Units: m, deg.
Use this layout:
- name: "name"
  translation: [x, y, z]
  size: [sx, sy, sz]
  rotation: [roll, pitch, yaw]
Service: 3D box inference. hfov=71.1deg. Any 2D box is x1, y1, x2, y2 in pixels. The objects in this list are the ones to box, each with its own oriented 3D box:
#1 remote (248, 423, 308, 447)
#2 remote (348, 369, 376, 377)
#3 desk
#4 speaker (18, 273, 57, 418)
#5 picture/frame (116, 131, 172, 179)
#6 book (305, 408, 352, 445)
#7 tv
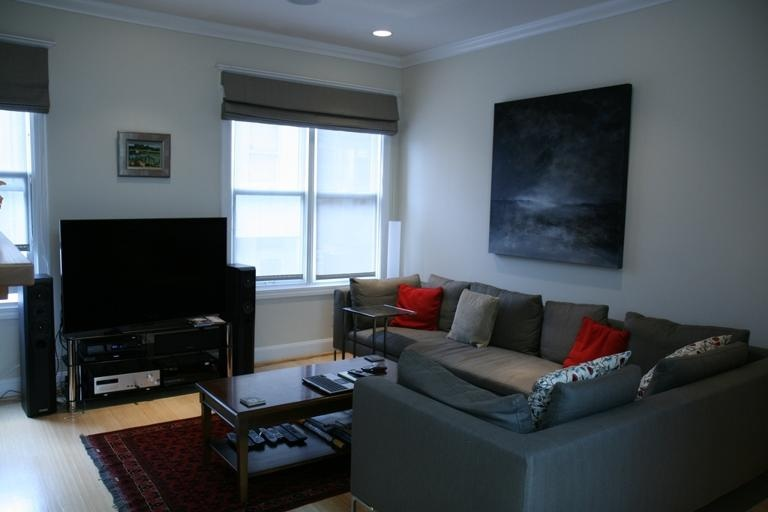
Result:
- name: "remote"
  translation: [-0.774, 1.311, 3.933]
  size: [0.246, 0.062, 0.235]
  rotation: [-2, 9, -33]
- name: "remote"
  translation: [-0.172, 0.903, 4.162]
  size: [0.228, 0.045, 0.123]
  rotation: [1, -2, -3]
- name: "desk"
  translation: [-0.125, 0.759, 5.289]
  size: [0.568, 0.493, 0.536]
  rotation: [-1, -8, -10]
- name: "speaker"
  translation: [-2.849, 0.749, 4.439]
  size: [0.250, 1.145, 0.121]
  rotation: [-5, 7, -31]
- name: "picture/frame"
  translation: [-2.301, -0.970, 5.092]
  size: [0.504, 0.465, 0.039]
  rotation: [0, 0, -29]
- name: "book"
  translation: [-0.397, 1.293, 4.102]
  size: [0.239, 0.070, 0.234]
  rotation: [1, 1, -40]
- name: "tv"
  translation: [-2.234, 0.172, 4.852]
  size: [1.147, 0.764, 0.043]
  rotation: [0, 2, -39]
